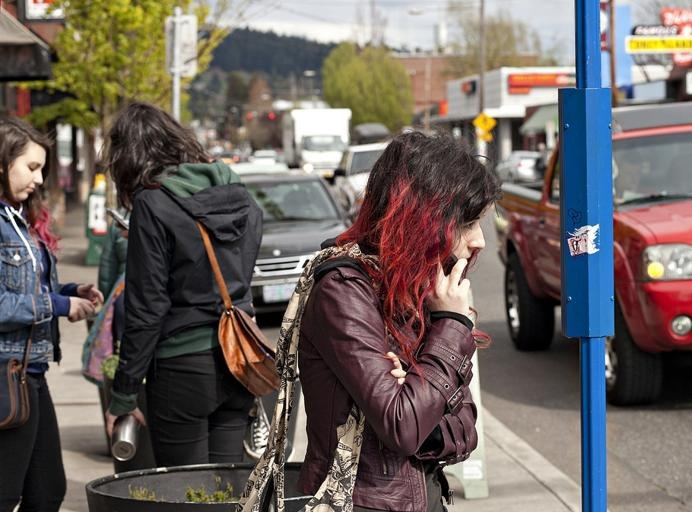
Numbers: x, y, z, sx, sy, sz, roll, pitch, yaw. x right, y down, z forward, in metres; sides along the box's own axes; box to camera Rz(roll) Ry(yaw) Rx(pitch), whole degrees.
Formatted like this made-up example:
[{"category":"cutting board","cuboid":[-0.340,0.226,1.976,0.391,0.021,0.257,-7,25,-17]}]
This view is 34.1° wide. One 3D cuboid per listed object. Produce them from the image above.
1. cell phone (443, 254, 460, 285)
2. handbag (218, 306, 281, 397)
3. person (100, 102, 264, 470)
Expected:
[{"category":"cell phone","cuboid":[0.467,0.036,5.164,0.076,0.083,0.068,-2,2,37]},{"category":"handbag","cuboid":[-0.563,0.552,6.381,0.198,0.488,0.471,-24,-21,-5]},{"category":"person","cuboid":[-0.943,0.177,6.243,1.003,2.087,0.491,-12,8,-17]}]
